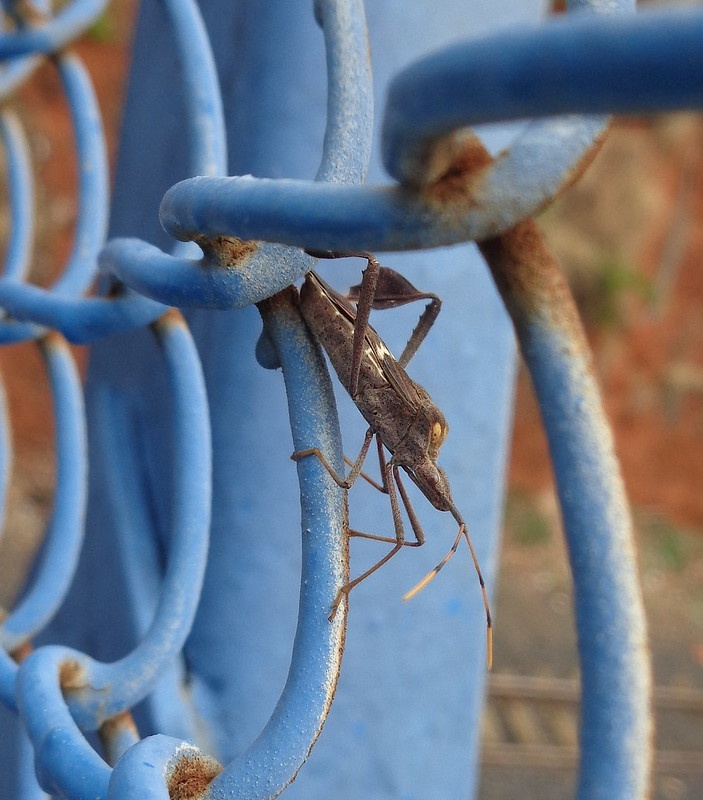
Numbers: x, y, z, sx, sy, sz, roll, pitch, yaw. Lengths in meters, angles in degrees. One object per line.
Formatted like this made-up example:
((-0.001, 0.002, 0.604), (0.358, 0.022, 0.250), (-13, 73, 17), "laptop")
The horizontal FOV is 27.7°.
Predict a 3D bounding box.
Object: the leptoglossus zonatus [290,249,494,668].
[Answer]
((0.015, 0.075, 1.312), (0.115, 0.382, 0.192), (-15, 0, 23), "leptoglossus zonatus")
